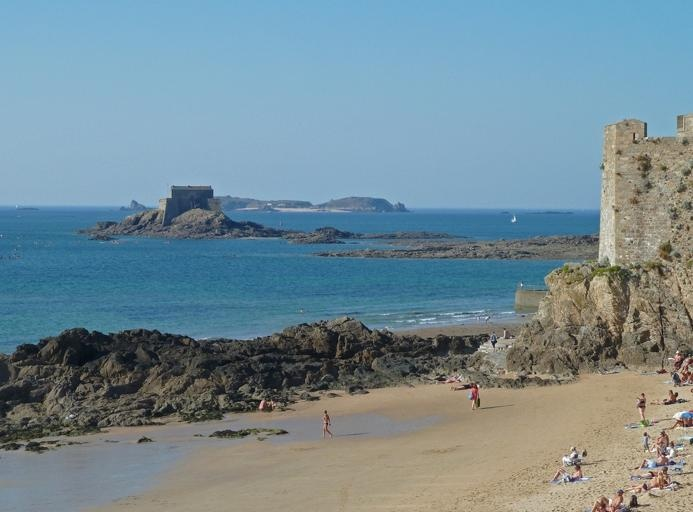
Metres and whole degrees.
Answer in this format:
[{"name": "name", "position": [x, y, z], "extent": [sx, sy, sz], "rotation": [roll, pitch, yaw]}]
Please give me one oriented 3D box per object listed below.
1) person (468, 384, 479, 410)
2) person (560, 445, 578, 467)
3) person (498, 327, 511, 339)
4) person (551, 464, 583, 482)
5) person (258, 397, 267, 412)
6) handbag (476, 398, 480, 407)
[{"name": "person", "position": [6.776, 7.399, 65.166], "extent": [0.533, 1.228, 1.575], "rotation": [-1, 1, 5]}, {"name": "person", "position": [10.425, 9.295, 57.596], "extent": [0.811, 0.853, 1.343], "rotation": [-1, 1, 9]}, {"name": "person", "position": [10.624, 5.134, 82.233], "extent": [0.927, 0.707, 0.794], "rotation": [-6, -7, -31]}, {"name": "person", "position": [10.010, 9.947, 56.134], "extent": [1.436, 0.809, 0.679], "rotation": [-2, -7, 9]}, {"name": "person", "position": [-4.522, 8.069, 66.450], "extent": [0.443, 0.521, 0.828], "rotation": [-1, 1, -2]}, {"name": "handbag", "position": [6.929, 7.722, 64.752], "extent": [0.109, 0.365, 0.382], "rotation": [7, -17, -13]}]
